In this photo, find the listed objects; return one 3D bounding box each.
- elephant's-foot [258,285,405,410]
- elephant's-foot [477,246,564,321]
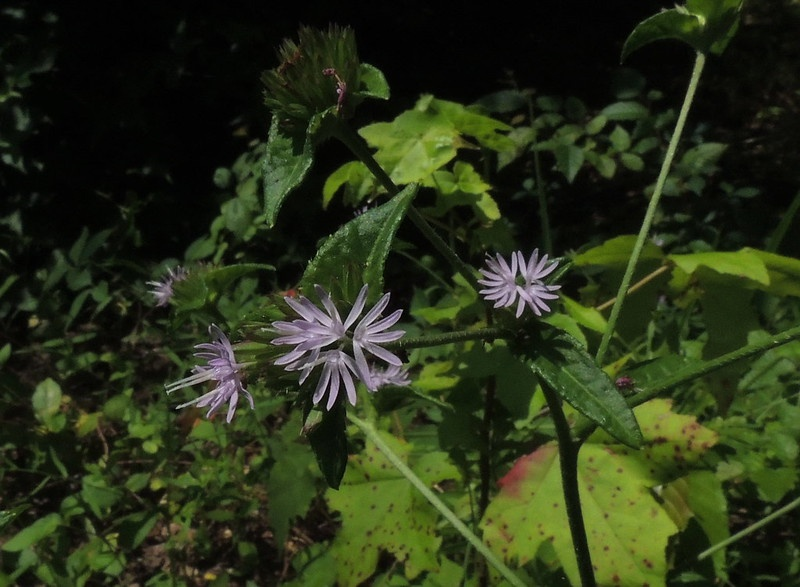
[{"bbox_3d":[-0.175,0.147,2.478,0.447,0.188,0.490,3,18,1],"label":"elephant's-foot"},{"bbox_3d":[0.425,-0.021,2.676,0.286,0.226,0.254,2,32,9],"label":"elephant's-foot"}]
